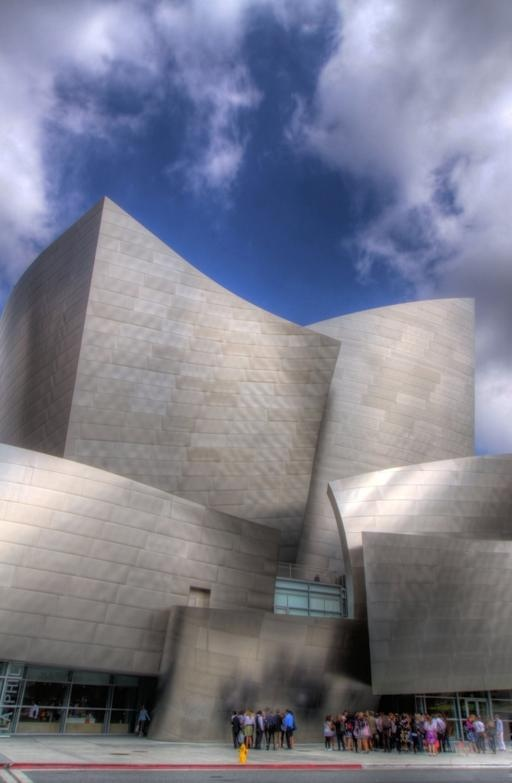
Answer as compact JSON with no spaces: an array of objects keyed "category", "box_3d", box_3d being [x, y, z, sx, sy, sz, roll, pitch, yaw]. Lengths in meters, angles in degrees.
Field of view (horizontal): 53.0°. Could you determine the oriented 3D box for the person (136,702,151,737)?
[{"category":"person","box_3d":[-3.503,10.258,15.874,0.357,0.737,0.849,8,-25,-9]}]
